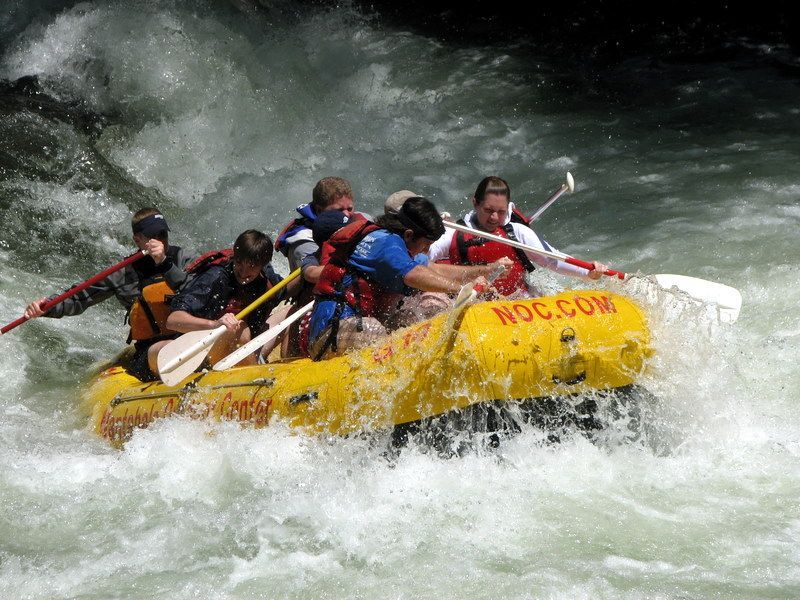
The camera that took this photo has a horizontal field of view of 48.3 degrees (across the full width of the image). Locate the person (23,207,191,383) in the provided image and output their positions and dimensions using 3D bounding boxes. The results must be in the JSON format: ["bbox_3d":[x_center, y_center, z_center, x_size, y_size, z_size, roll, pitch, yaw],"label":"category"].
[{"bbox_3d":[-2.612,-0.009,7.848,1.302,1.679,0.882,-7,-33,-26],"label":"person"}]

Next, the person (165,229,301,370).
[{"bbox_3d":[-1.344,0.053,6.504,1.081,0.407,0.824,-39,44,-3],"label":"person"}]

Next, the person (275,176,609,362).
[{"bbox_3d":[0.226,-0.335,6.246,2.325,1.045,0.806,-22,20,-6],"label":"person"}]

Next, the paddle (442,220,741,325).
[{"bbox_3d":[1.479,-0.215,6.695,1.990,0.095,0.491,18,-26,21],"label":"paddle"}]
